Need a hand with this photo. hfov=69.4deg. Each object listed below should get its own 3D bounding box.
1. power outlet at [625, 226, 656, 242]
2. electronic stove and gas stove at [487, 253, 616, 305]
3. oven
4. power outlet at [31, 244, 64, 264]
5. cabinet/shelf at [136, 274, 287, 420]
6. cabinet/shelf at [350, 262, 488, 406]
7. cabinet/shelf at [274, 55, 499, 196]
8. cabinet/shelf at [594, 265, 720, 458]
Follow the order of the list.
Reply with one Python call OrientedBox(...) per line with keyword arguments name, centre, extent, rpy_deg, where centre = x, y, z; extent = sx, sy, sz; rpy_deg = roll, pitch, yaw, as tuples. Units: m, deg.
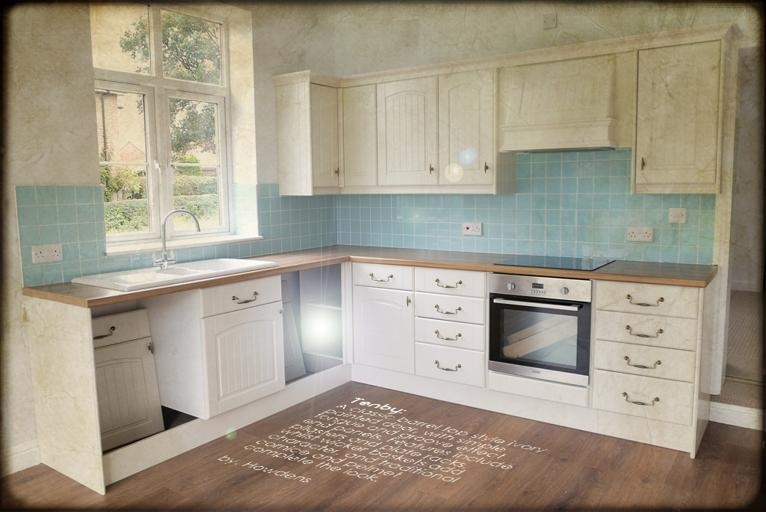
OrientedBox(name="power outlet", centre=(1.828, -0.158, 3.944), extent=(0.173, 0.105, 0.040), rpy_deg=(1, 10, 33))
OrientedBox(name="electronic stove and gas stove", centre=(1.371, 0.150, 3.910), extent=(0.892, 0.175, 0.943), rpy_deg=(-9, 5, -19))
OrientedBox(name="oven", centre=(1.170, 0.514, 3.970), extent=(0.868, 0.571, 0.577), rpy_deg=(0, -1, 32))
OrientedBox(name="power outlet", centre=(-2.093, -0.013, 3.429), extent=(0.018, 0.082, 0.127), rpy_deg=(7, 9, 36))
OrientedBox(name="cabinet/shelf", centre=(-1.219, 0.533, 3.952), extent=(0.767, 0.922, 0.871), rpy_deg=(11, 15, 44))
OrientedBox(name="cabinet/shelf", centre=(0.307, 0.574, 4.195), extent=(1.182, 0.776, 0.466), rpy_deg=(1, 3, 31))
OrientedBox(name="cabinet/shelf", centre=(0.039, -1.032, 4.462), extent=(1.349, 0.707, 0.429), rpy_deg=(2, 7, 27))
OrientedBox(name="cabinet/shelf", centre=(1.840, 0.713, 3.752), extent=(0.711, 0.996, 0.771), rpy_deg=(4, -2, 45))
